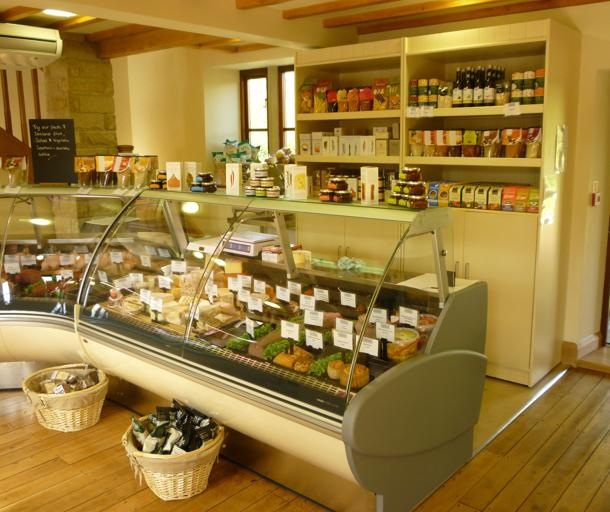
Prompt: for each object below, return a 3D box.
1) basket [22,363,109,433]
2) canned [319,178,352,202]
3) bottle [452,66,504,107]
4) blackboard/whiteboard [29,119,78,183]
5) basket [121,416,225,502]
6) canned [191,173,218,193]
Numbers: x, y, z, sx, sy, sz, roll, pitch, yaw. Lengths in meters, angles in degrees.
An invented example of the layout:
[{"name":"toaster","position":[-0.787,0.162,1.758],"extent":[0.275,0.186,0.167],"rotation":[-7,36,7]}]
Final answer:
[{"name":"basket","position":[-1.604,1.003,3.093],"extent":[0.400,0.212,0.445],"rotation":[14,-12,-43]},{"name":"canned","position":[0.174,-0.342,2.423],"extent":[0.168,0.101,0.153],"rotation":[1,4,13]},{"name":"bottle","position":[1.365,-1.313,3.559],"extent":[0.443,0.318,0.224],"rotation":[5,12,25]},{"name":"blackboard/whiteboard","position":[-2.359,-0.989,4.269],"extent":[0.336,0.589,0.711],"rotation":[-9,15,-35]},{"name":"basket","position":[-0.691,1.060,2.379],"extent":[0.412,0.232,0.400],"rotation":[1,-4,-36]},{"name":"canned","position":[-0.636,-0.461,2.956],"extent":[0.160,0.122,0.148],"rotation":[3,6,24]}]
